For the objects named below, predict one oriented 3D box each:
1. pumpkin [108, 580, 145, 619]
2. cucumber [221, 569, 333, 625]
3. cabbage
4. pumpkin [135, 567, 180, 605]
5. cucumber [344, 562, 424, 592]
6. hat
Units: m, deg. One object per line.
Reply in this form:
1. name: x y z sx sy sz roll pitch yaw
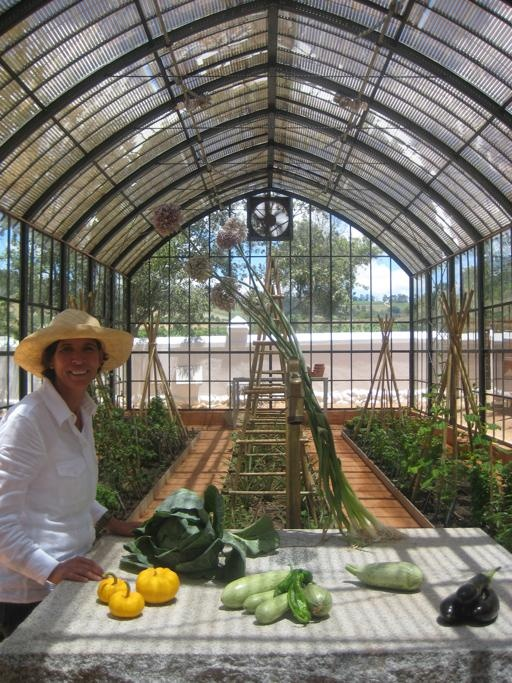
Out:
1. pumpkin: -0.321 0.649 1.247 0.089 0.089 0.081 0 -8 8
2. cucumber: 0.043 0.648 1.304 0.236 0.097 0.249 0 2 -7
3. cabbage: -0.158 0.590 1.687 0.447 0.307 0.411 4 3 -24
4. pumpkin: -0.263 0.645 1.334 0.093 0.078 0.090 1 -7 -6
5. cucumber: 0.352 0.654 1.442 0.140 0.080 0.208 -1 1 7
6. hat: -0.693 -0.004 1.959 0.357 0.135 0.382 -2 -20 -5
